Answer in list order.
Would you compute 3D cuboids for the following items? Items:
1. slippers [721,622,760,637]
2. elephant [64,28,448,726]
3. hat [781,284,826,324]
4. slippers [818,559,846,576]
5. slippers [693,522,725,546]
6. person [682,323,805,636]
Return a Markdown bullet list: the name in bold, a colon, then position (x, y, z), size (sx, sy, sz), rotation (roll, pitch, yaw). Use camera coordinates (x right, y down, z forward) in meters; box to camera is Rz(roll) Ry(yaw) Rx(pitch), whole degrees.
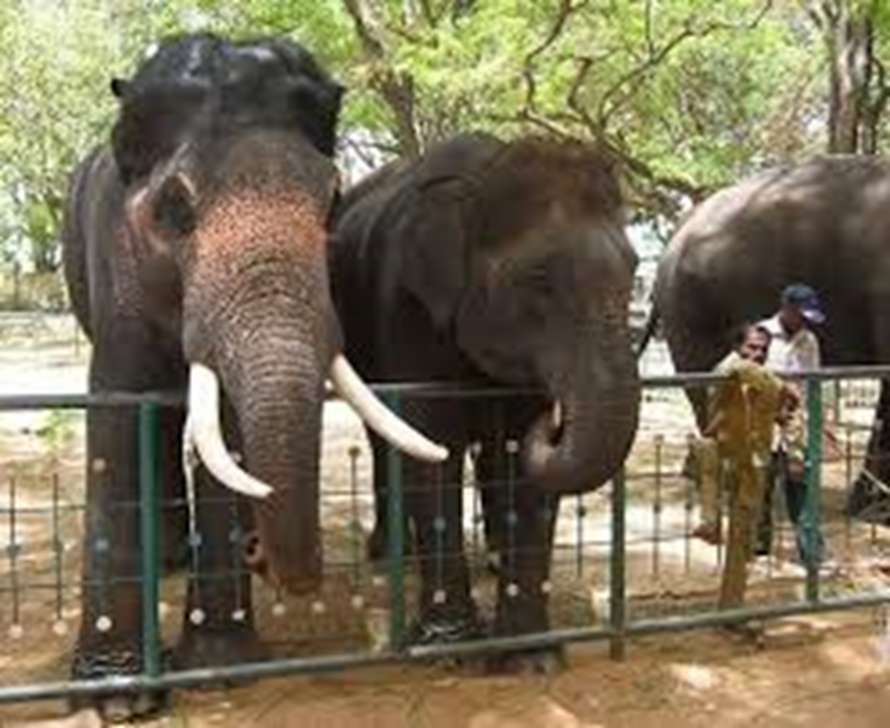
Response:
- **slippers**: position (1.488, 1.327, 4.432), size (0.196, 0.074, 0.126), rotation (8, -7, 14)
- **elephant**: position (-1.032, -0.027, 3.845), size (1.200, 2.799, 2.499), rotation (-2, 4, -26)
- **hat**: position (2.324, -0.407, 5.702), size (0.342, 0.202, 0.224), rotation (25, 20, 35)
- **slippers**: position (2.277, 1.200, 5.207), size (0.167, 0.052, 0.104), rotation (6, 1, 33)
- **slippers**: position (1.241, 0.805, 4.100), size (0.072, 0.080, 0.187), rotation (-6, -20, 33)
- **person**: position (1.448, 0.581, 4.288), size (0.544, 1.539, 0.935), rotation (2, 4, 24)
